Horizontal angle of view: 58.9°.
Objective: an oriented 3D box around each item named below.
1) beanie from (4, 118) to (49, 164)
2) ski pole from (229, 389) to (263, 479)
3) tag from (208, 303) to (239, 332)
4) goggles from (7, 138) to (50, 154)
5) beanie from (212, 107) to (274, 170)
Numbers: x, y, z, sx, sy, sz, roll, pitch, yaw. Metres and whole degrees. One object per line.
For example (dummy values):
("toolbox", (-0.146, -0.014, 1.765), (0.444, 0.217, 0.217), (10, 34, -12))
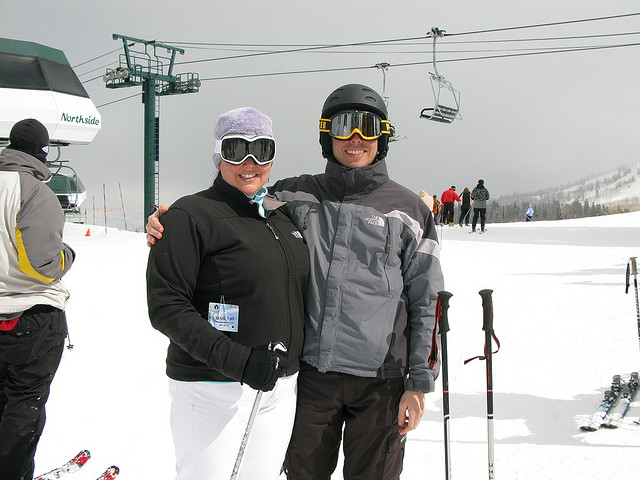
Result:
("beanie", (-2.383, -0.793, 4.730), (0.257, 0.382, 0.346), (10, -7, -19))
("ski pole", (-0.466, 1.187, 3.483), (0.059, 0.671, 0.034), (16, -17, 10))
("tag", (-0.586, 0.474, 3.447), (0.145, 0.145, 0.017), (4, -1, 4))
("goggles", (-2.362, -0.758, 4.593), (0.192, 0.080, 0.151), (16, -3, -28))
("beanie", (-0.527, -0.754, 3.909), (0.411, 0.238, 0.560), (1, 5, -20))
